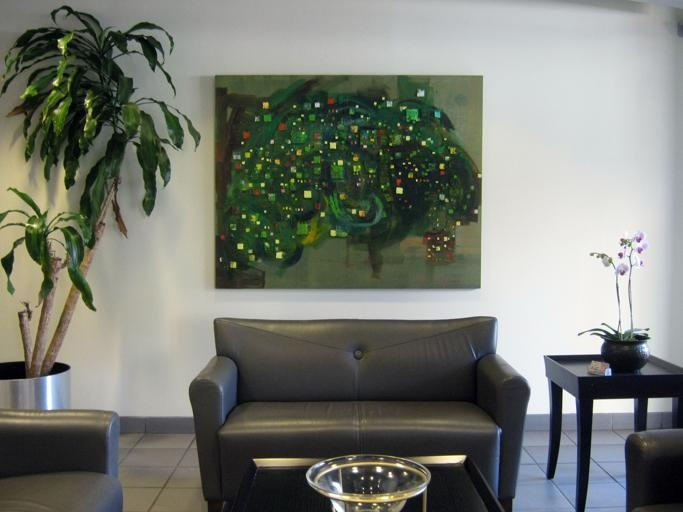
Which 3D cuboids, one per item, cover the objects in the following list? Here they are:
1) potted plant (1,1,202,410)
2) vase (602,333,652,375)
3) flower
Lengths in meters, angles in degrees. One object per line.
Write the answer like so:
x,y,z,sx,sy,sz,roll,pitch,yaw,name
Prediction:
-1.820,-0.426,4.403,1.399,2.883,0.990,-3,3,1,potted plant
1.793,0.622,3.991,0.295,0.233,0.316,0,3,19,vase
1.912,0.231,4.418,0.436,0.799,1.193,-2,3,26,flower
